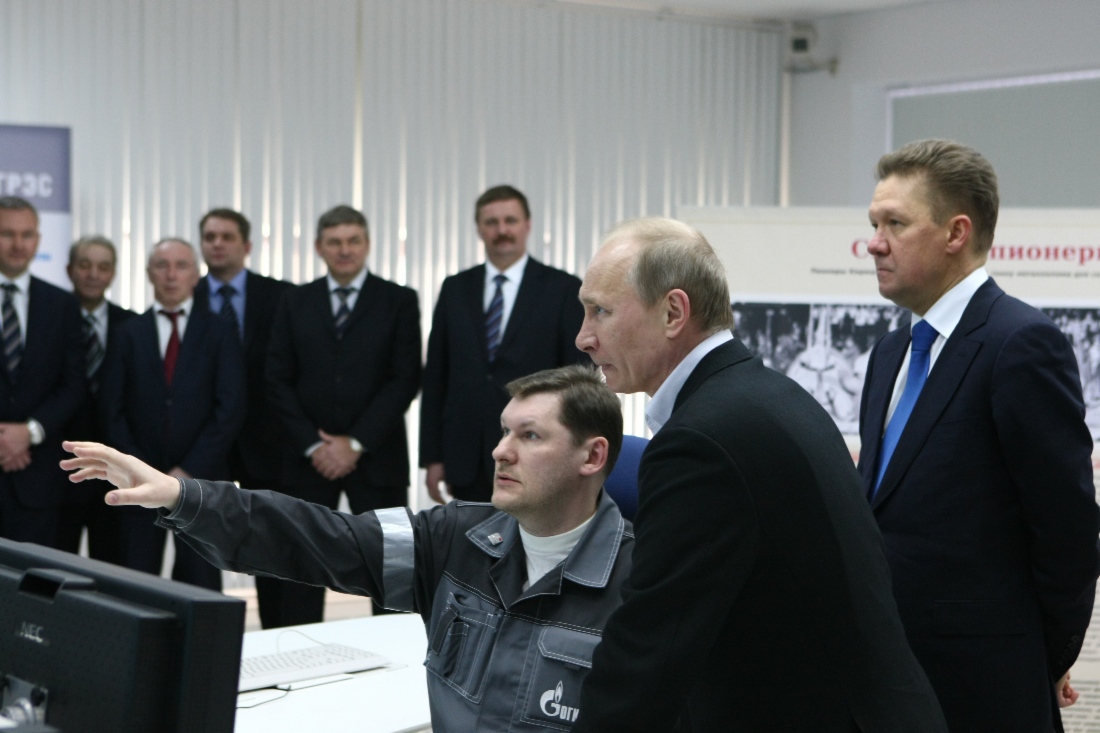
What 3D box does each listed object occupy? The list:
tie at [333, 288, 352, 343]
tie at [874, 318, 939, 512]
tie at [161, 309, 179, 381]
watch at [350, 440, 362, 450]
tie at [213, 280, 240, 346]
[{"bbox_3d":[-0.981,-0.242,6.288,0.068,0.239,0.027,2,-19,-4],"label":"tie"},{"bbox_3d":[1.122,0.176,4.193,0.048,0.616,0.083,15,-10,42],"label":"tie"},{"bbox_3d":[-1.755,-0.111,6.161,0.076,0.278,0.022,4,-20,-7],"label":"tie"},{"bbox_3d":[-0.895,0.364,6.140,0.041,0.045,0.042,-23,48,-27],"label":"watch"},{"bbox_3d":[-1.535,-0.259,6.355,0.094,0.272,0.212,-2,5,-14],"label":"tie"}]
